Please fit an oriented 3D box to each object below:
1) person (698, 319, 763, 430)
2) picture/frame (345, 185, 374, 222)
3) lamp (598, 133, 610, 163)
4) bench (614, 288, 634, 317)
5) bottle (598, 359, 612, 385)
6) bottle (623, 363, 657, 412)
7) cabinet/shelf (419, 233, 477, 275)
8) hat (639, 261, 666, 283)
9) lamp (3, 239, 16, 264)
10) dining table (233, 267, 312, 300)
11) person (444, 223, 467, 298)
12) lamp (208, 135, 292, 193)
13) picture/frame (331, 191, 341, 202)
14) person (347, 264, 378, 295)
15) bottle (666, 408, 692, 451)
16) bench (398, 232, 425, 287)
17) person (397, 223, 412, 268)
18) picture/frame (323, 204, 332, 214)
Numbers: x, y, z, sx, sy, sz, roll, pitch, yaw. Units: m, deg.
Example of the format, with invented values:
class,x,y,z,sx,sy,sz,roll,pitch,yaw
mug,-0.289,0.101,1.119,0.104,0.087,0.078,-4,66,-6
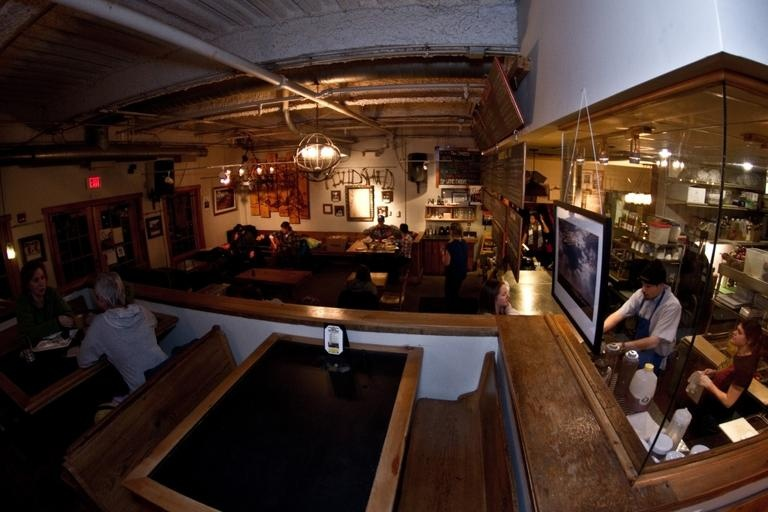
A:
class,x,y,z,sx,sy,sz,roll,pitch,yaw
person,2.548,0.848,3.406,0.832,0.613,0.251,-11,15,-43
picture/frame,-0.595,-1.373,11.885,0.881,1.039,0.081,1,10,11
lamp,1.826,-0.874,3.837,0.069,0.220,0.212,5,13,27
bench,2.570,0.501,4.933,0.208,0.146,0.322,3,7,27
bottle,1.540,0.808,3.215,0.079,0.132,0.100,10,15,42
bottle,1.680,0.852,3.004,0.165,0.319,0.172,-1,11,0
cabinet/shelf,1.432,-0.047,10.729,1.448,0.985,0.846,0,3,10
hat,2.260,0.135,3.885,0.151,0.182,0.206,5,6,35
lamp,-5.775,-0.062,7.164,0.073,0.288,0.142,4,12,25
dining table,-2.172,0.566,9.271,1.344,0.532,0.813,4,12,23
person,1.152,0.152,7.392,0.325,1.335,0.364,1,11,7
lamp,-3.618,-2.139,11.924,1.627,1.160,1.674,14,24,36
picture/frame,-1.229,-1.540,12.044,0.271,0.292,0.018,2,11,15
person,-0.292,0.352,6.953,0.297,0.724,0.218,5,37,9
bottle,1.798,1.049,2.828,0.189,0.193,0.081,-9,14,-37
bench,0.592,0.116,10.060,0.495,0.785,0.859,-4,50,8
person,0.484,-0.248,10.132,0.308,0.910,0.552,0,11,6
picture/frame,-1.465,-1.235,12.176,0.236,0.266,0.027,0,11,8
